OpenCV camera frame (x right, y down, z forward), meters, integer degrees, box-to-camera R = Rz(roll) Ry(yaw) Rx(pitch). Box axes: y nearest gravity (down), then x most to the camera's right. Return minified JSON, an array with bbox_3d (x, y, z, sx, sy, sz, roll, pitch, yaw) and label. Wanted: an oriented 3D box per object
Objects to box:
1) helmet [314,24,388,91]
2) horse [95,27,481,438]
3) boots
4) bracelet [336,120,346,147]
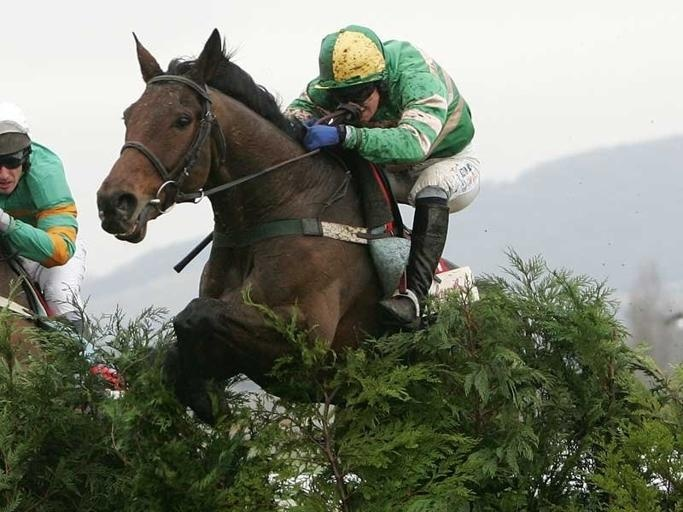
[{"bbox_3d":[0.034,-1.028,5.329,0.363,0.232,0.437,0,29,20],"label":"helmet"},{"bbox_3d":[-0.264,-0.121,5.317,0.882,1.671,2.679,8,5,30],"label":"horse"},{"bbox_3d":[0.379,0.010,5.265,0.287,0.570,0.168,7,10,-44],"label":"boots"},{"bbox_3d":[0.001,-0.575,5.022,0.038,0.077,0.063,4,-3,-7],"label":"bracelet"}]
